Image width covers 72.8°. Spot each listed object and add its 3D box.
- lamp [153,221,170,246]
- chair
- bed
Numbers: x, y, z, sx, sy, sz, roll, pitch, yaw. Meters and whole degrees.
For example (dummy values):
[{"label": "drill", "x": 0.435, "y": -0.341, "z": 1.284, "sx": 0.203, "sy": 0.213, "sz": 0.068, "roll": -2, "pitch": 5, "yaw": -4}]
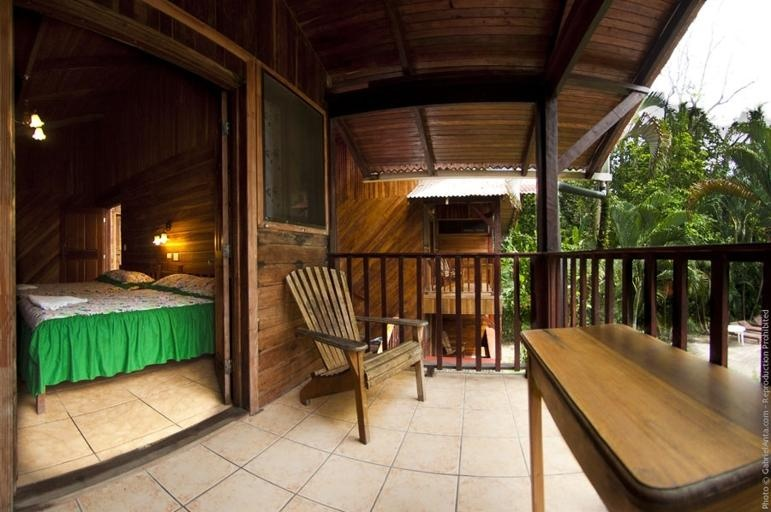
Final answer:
[{"label": "lamp", "x": -3.734, "y": -0.385, "z": 8.700, "sx": 0.369, "sy": 0.448, "sz": 0.230, "roll": -3, "pitch": -5, "yaw": 35}, {"label": "chair", "x": -0.300, "y": 0.998, "z": 6.414, "sx": 1.764, "sy": 1.804, "sz": 1.514, "roll": 10, "pitch": 11, "yaw": 39}, {"label": "bed", "x": -3.353, "y": 0.899, "z": 6.635, "sx": 1.897, "sy": 0.715, "sz": 1.868, "roll": 1, "pitch": 3, "yaw": -36}]
